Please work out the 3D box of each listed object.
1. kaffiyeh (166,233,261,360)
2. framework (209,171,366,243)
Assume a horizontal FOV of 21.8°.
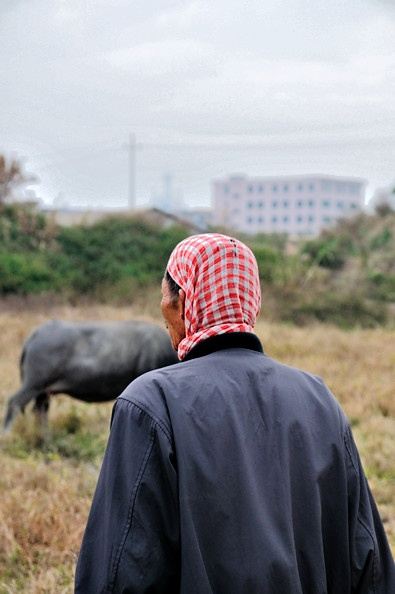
[{"bbox_3d":[0.057,0.017,3.115,0.306,0.447,0.301,3,-3,-31],"label":"kaffiyeh"},{"bbox_3d":[0.409,-0.429,4.769,0.192,0.280,0.882,-1,5,-44],"label":"framework"}]
